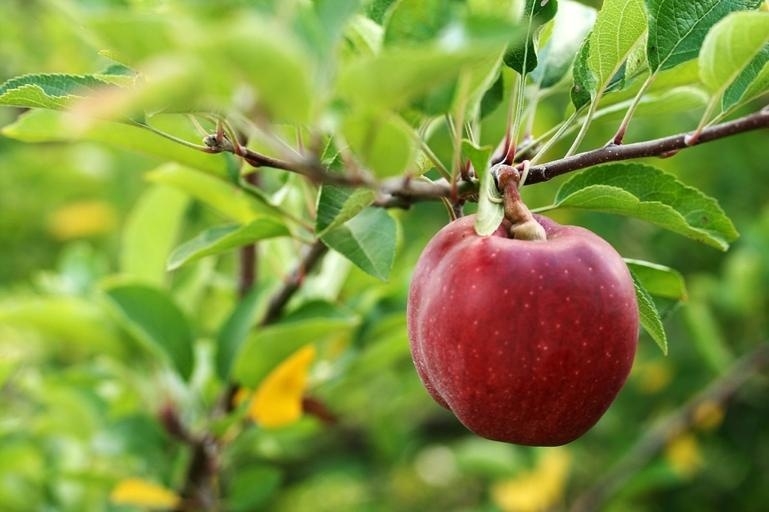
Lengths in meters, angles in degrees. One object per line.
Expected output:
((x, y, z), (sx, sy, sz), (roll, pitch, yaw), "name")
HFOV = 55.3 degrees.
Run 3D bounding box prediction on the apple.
((0.215, 0.115, 1.230), (0.341, 0.327, 0.321), (5, 1, -24), "apple")
